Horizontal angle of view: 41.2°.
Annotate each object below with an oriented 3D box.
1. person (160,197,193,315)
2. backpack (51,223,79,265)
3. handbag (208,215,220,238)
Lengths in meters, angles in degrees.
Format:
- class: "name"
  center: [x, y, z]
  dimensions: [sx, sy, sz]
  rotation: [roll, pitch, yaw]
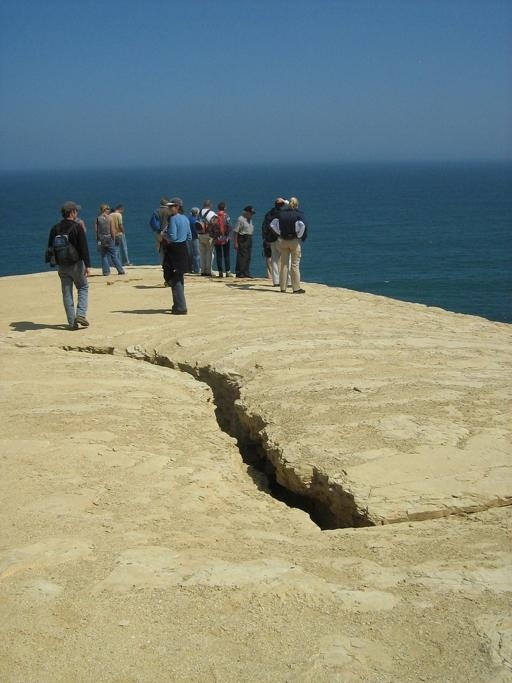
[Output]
- class: "person"
  center: [-1.159, -1.207, 9.903]
  dimensions: [0.402, 1.674, 0.671]
  rotation: [-4, 12, -5]
- class: "backpack"
  center: [-2.418, -1.230, 8.609]
  dimensions: [0.497, 0.532, 0.310]
  rotation: [-2, 16, -1]
- class: "handbag"
  center: [-0.859, -2.276, 13.690]
  dimensions: [0.151, 0.356, 0.279]
  rotation: [-2, 11, -13]
